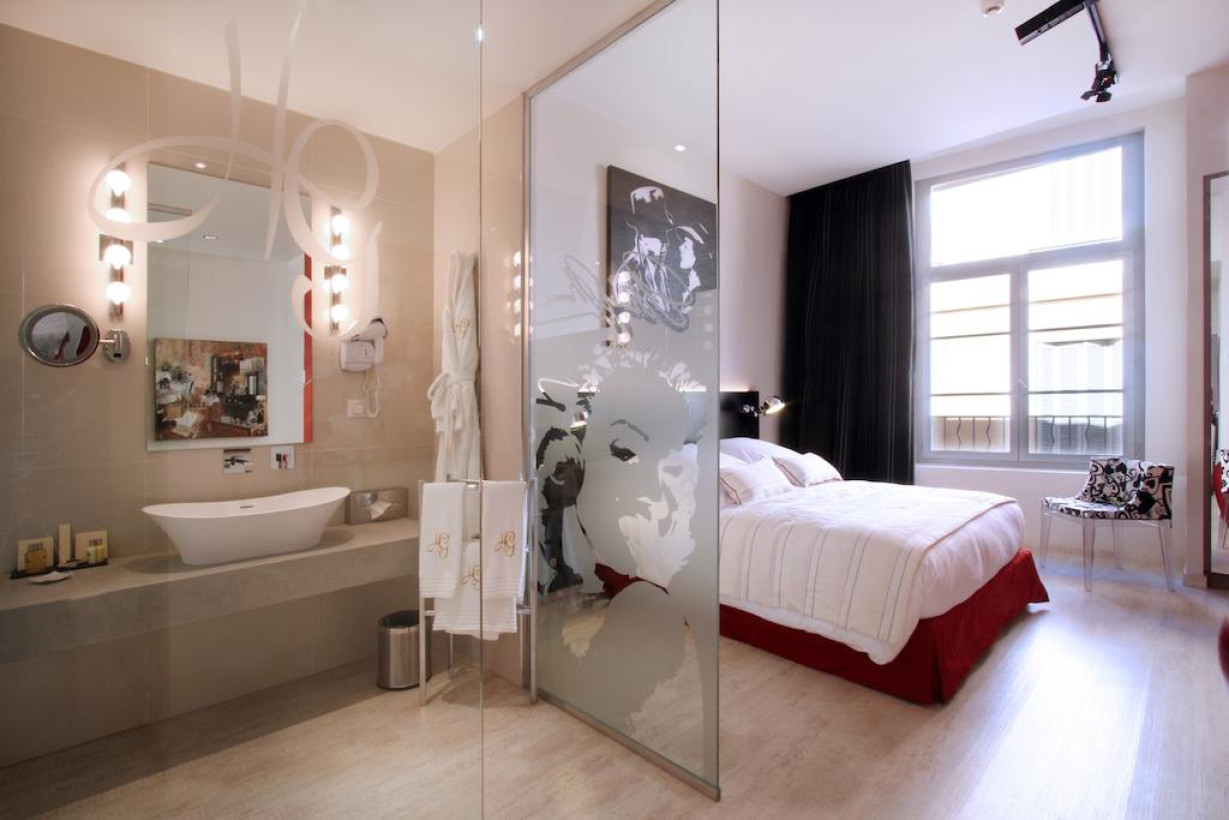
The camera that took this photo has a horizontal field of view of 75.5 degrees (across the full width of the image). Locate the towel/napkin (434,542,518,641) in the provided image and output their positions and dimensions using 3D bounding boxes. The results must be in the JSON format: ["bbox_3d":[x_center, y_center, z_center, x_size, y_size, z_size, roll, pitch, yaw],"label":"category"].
[{"bbox_3d":[-0.563,0.747,3.287,0.373,0.378,0.124,5,-9,-31],"label":"towel/napkin"}]

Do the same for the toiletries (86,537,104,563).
[{"bbox_3d":[-1.947,0.523,2.955,0.090,0.089,0.050,2,-4,-36],"label":"toiletries"}]

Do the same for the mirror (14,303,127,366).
[{"bbox_3d":[-2.013,-0.279,2.937,0.397,0.227,0.020,-1,3,1],"label":"mirror"}]

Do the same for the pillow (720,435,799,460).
[{"bbox_3d":[0.960,0.272,5.410,0.249,0.077,0.261,9,-1,-19],"label":"pillow"}]

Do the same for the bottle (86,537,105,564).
[{"bbox_3d":[-1.944,0.524,2.955,0.092,0.090,0.050,2,-4,-38],"label":"bottle"}]

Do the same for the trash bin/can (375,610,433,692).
[{"bbox_3d":[-0.858,0.946,3.148,0.268,0.284,0.236,2,3,37],"label":"trash bin/can"}]

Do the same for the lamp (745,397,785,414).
[{"bbox_3d":[1.236,-0.014,6.560,0.269,0.144,0.182,-6,-9,19],"label":"lamp"}]

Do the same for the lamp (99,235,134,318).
[{"bbox_3d":[-1.851,-0.487,2.943,0.115,0.309,0.031,-1,3,12],"label":"lamp"}]

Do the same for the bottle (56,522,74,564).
[{"bbox_3d":[-2.047,0.501,2.943,0.060,0.157,0.009,-2,3,-8],"label":"bottle"}]
